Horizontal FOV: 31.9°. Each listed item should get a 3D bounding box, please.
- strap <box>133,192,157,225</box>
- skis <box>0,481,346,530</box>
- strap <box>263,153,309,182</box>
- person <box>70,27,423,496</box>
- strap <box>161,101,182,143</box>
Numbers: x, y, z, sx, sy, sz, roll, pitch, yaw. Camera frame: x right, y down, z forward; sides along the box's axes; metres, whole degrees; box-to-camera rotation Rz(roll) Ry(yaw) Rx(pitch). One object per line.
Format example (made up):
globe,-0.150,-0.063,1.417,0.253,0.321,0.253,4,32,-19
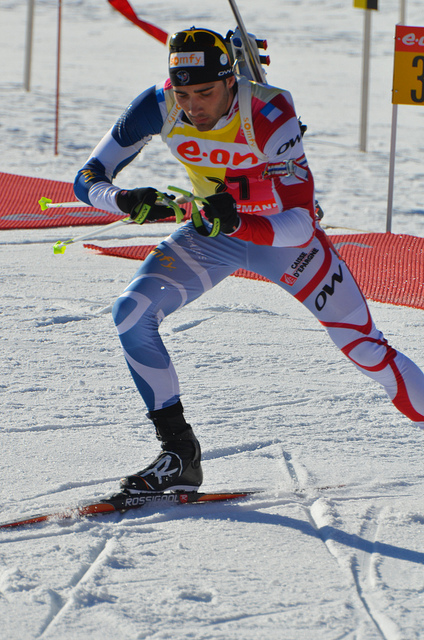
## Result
strap,-0.198,-0.328,2.191,0.033,0.081,0.062,28,1,-6
skis,-0.152,0.569,2.266,0.627,0.076,0.036,-4,55,-18
strap,0.219,-0.460,2.275,0.123,0.043,0.083,-8,3,5
person,0.032,-0.230,2.672,1.027,1.478,1.095,-1,15,-20
strap,-0.139,-0.648,2.426,0.029,0.115,0.062,34,5,-8
